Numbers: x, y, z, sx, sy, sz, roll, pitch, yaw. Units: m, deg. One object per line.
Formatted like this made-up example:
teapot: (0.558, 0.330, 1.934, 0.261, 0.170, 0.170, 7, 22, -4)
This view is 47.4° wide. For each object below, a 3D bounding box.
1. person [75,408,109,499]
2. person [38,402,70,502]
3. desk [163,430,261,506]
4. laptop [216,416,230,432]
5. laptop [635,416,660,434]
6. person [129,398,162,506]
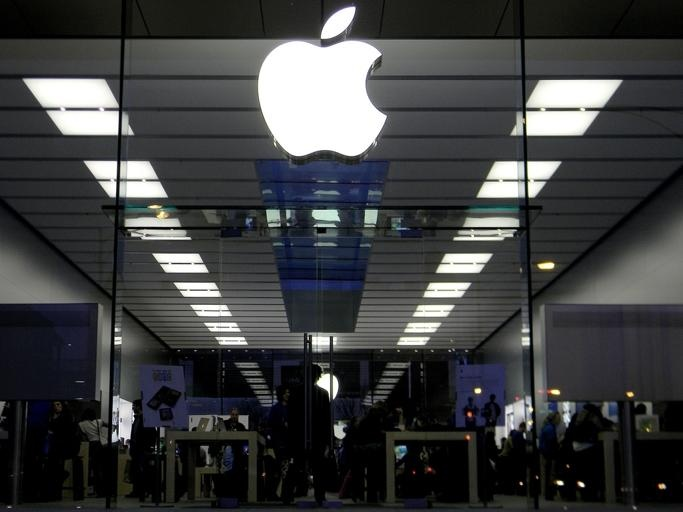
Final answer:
person: (-3.045, 2.373, 9.515, 0.252, 1.102, 0.911, 10, -22, -27)
person: (-3.612, 2.491, 9.780, 0.482, 1.126, 0.244, -10, -21, 27)
desk: (-1.544, 2.624, 9.100, 0.892, 0.696, 0.882, 0, -30, -2)
laptop: (-1.392, 1.961, 9.023, 0.204, 0.208, 0.113, 0, -20, 0)
laptop: (3.746, 2.056, 9.497, 0.230, 0.226, 0.058, 4, -17, 2)
person: (-2.259, 2.205, 8.868, 0.300, 1.103, 0.142, -4, -19, 12)
